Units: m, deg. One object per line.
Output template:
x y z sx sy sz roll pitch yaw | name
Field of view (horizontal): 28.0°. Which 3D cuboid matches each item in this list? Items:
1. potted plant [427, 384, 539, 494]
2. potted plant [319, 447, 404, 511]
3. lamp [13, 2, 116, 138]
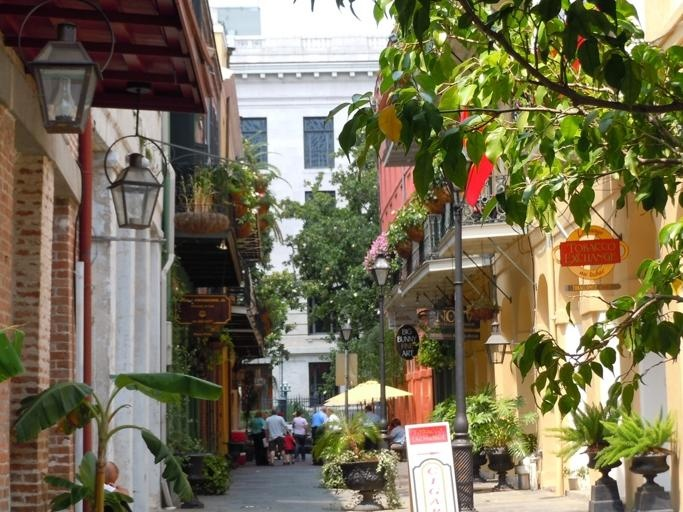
2.467 2.950 22.463 1.496 1.560 1.615 0 -13 -8 | potted plant
0.362 3.373 20.952 1.012 0.864 0.939 -2 -19 5 | potted plant
-2.425 -1.758 12.131 0.689 1.338 0.582 -4 -10 8 | lamp
